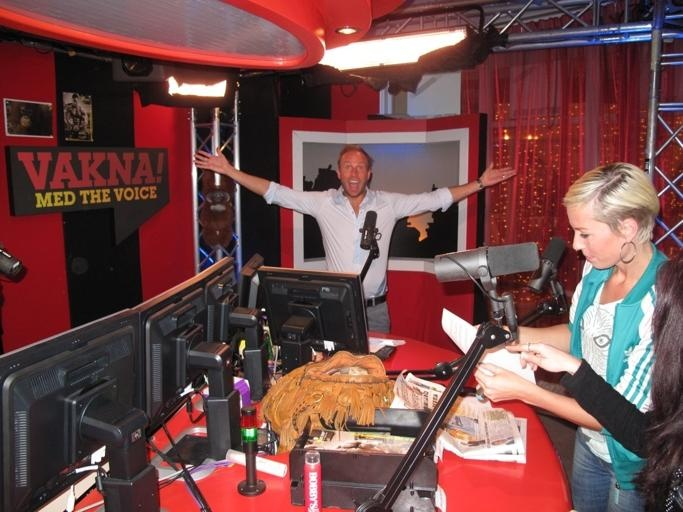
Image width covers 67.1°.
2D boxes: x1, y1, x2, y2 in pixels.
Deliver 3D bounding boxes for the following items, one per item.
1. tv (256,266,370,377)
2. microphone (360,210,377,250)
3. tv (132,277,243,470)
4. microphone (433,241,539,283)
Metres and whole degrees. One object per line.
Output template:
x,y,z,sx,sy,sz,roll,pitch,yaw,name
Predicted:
-0.148,0.329,2.582,0.469,0.452,0.265,4,27,18,tv
0.172,-0.163,3.210,0.103,0.227,0.087,4,-10,4,microphone
-0.635,0.508,2.142,0.224,0.668,0.643,6,10,17,tv
0.555,0.024,2.027,0.389,0.139,0.167,-12,2,25,microphone
